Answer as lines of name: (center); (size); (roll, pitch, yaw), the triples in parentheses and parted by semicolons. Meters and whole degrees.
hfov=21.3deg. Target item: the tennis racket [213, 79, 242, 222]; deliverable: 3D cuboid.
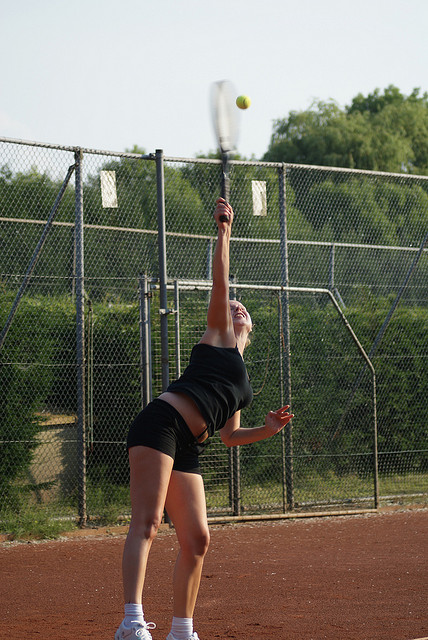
tennis racket: (0.069, -0.990, 6.757); (0.060, 0.818, 0.139); (17, 28, 33)

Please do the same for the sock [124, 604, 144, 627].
sock: (-0.371, 1.367, 5.277); (0.092, 0.122, 0.067); (-3, -6, 16)

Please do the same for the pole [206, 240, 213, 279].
pole: (-0.036, -0.576, 10.859); (0.060, 0.375, 0.204); (0, 2, -1)

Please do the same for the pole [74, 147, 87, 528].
pole: (-1.116, 0.126, 9.632); (0.114, 3.167, 0.583); (0, 2, -7)
